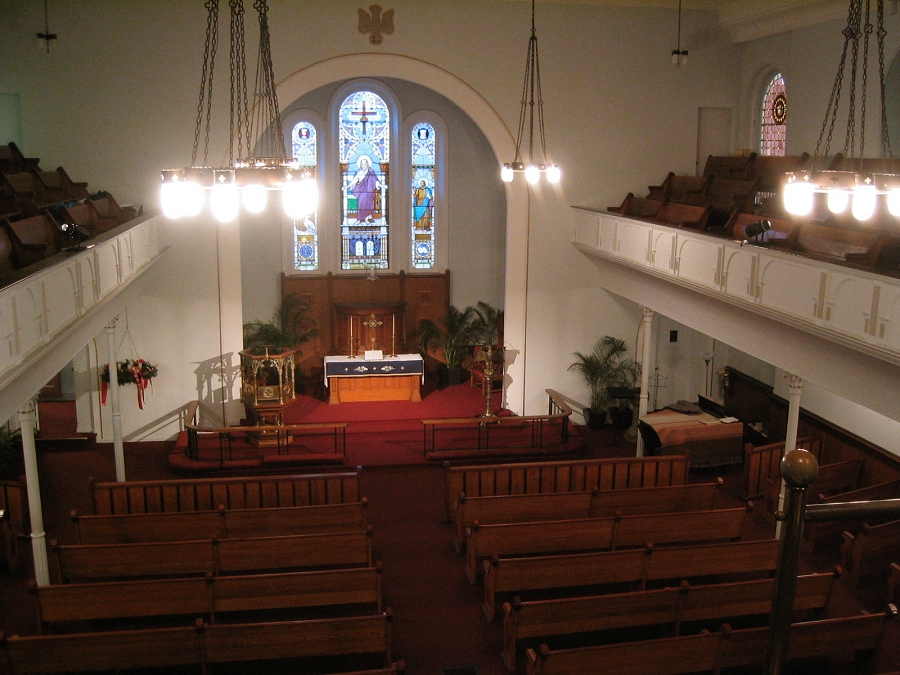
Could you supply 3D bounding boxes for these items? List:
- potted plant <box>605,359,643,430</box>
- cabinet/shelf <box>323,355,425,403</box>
[{"bbox_3d":[4.324,1.425,18.240,0.748,1.527,1.889,1,8,15],"label":"potted plant"},{"bbox_3d":[-1.960,1.055,19.012,2.431,1.262,0.391,-1,8,-5],"label":"cabinet/shelf"}]
